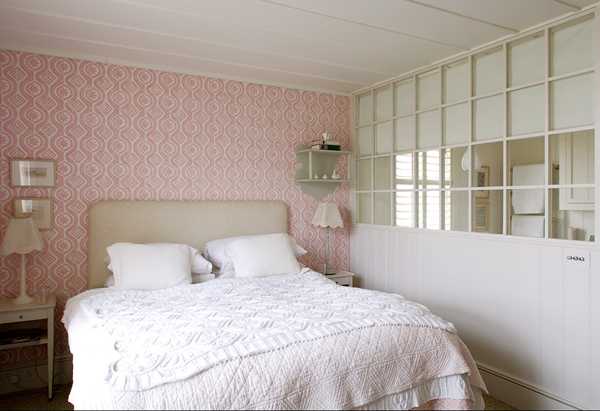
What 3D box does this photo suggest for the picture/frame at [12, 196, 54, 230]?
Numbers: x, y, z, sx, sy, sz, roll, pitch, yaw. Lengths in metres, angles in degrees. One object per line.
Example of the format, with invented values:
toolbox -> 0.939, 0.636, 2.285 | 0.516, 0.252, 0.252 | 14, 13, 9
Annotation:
picture/frame -> -2.545, 0.067, 3.922 | 0.313, 0.321, 0.022 | 6, -35, -38

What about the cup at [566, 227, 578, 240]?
cup -> 2.215, 0.231, 3.362 | 0.078, 0.099, 0.036 | 9, 15, 33

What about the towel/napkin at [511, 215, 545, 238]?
towel/napkin -> 1.992, 0.174, 3.612 | 0.049, 0.209, 0.295 | -9, 15, -36

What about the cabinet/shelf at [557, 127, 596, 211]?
cabinet/shelf -> 2.254, -0.277, 3.366 | 0.315, 0.647, 0.165 | 10, 16, 34

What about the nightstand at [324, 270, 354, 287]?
nightstand -> 0.458, 0.824, 4.909 | 0.283, 0.245, 0.206 | 0, 0, -34

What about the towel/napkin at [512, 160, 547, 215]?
towel/napkin -> 2.003, -0.144, 3.627 | 0.079, 0.456, 0.328 | -10, 16, -39

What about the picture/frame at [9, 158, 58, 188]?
picture/frame -> -2.557, -0.311, 3.944 | 0.382, 0.277, 0.012 | -2, -8, -17

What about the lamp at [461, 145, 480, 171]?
lamp -> 1.654, -0.451, 4.029 | 0.208, 0.297, 0.200 | -3, -2, 26

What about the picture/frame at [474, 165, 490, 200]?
picture/frame -> 1.733, -0.220, 3.930 | 0.054, 0.310, 0.157 | -11, 18, -42
